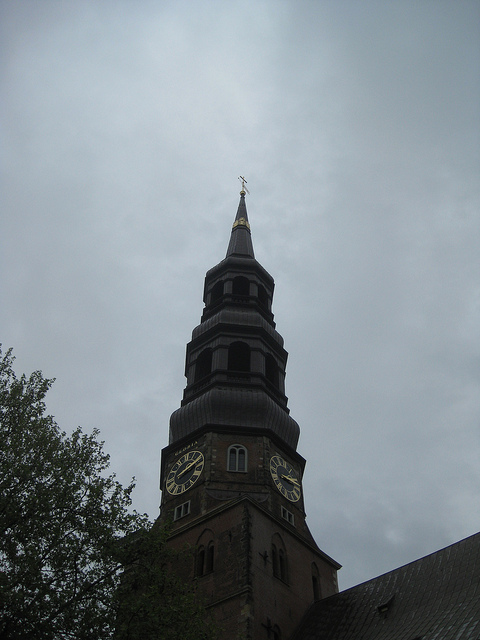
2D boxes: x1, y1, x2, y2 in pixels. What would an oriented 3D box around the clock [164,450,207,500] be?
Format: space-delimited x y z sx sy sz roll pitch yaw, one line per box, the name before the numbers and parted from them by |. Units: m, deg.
clock | -2.046 6.009 33.358 1.872 1.887 0.092 -32 -65 20
